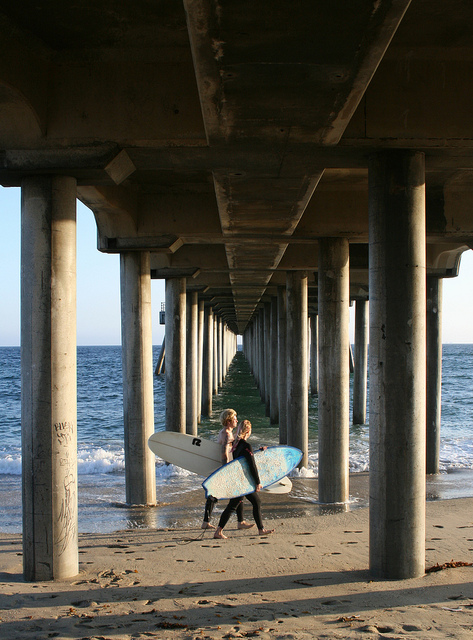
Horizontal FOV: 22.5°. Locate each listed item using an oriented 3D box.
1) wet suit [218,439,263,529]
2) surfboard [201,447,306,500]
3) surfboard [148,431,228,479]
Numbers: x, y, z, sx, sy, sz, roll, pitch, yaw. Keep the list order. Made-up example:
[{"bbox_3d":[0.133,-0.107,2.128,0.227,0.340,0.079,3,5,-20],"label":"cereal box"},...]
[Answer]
[{"bbox_3d":[0.021,1.872,13.447,0.489,1.035,0.710,-1,-3,0],"label":"wet suit"},{"bbox_3d":[0.235,1.737,13.658,1.355,0.474,0.204,-19,9,-27],"label":"surfboard"},{"bbox_3d":[-0.645,1.696,14.891,0.241,0.553,1.798,6,-9,-23],"label":"surfboard"}]
